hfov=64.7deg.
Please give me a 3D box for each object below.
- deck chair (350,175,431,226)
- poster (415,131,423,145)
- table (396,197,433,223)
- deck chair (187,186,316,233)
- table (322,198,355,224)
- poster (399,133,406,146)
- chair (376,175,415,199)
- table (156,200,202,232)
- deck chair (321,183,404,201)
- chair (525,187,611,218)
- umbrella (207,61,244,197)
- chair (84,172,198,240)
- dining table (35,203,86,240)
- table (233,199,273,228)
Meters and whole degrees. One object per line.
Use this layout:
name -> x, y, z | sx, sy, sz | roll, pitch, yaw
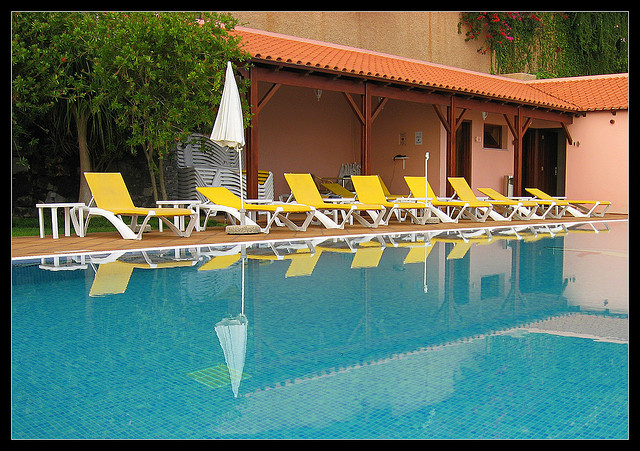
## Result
deck chair -> 1.665, -0.593, 11.345 | 1.163, 1.069, 1.607 | -3, 4, -44
poster -> 3.377, -2.991, 17.187 | 0.288, 0.425, 0.044 | 1, 5, 35
table -> 2.378, -0.371, 12.696 | 0.735, 0.555, 0.733 | -4, 7, -34
deck chair -> -1.321, -0.311, 9.541 | 2.313, 0.829, 1.286 | 3, 4, 36
table -> 0.263, -0.292, 11.126 | 0.665, 0.504, 0.677 | 0, 2, 19
poster -> 2.896, -3.031, 17.612 | 0.268, 0.457, 0.040 | 2, 5, 40
chair -> 2.182, -1.005, 14.510 | 0.998, 0.655, 1.006 | -1, 2, 3
table -> -2.539, -0.245, 9.332 | 0.798, 0.756, 0.716 | 5, 7, 3
deck chair -> 0.847, -1.033, 14.705 | 1.695, 0.472, 0.905 | 1, 3, 21
chair -> 8.139, -0.729, 16.314 | 2.190, 0.757, 1.309 | 1, 3, 37
umbrella -> -1.677, -1.994, 9.113 | 0.563, 2.016, 0.565 | -2, 4, -3
chair -> -3.036, -0.356, 8.349 | 1.932, 1.134, 1.093 | 2, 1, 35
dining table -> -4.250, -0.117, 8.369 | 0.800, 0.647, 0.787 | -9, 12, -22
table -> -1.365, -0.307, 10.834 | 0.657, 0.635, 0.671 | -2, -4, 27
